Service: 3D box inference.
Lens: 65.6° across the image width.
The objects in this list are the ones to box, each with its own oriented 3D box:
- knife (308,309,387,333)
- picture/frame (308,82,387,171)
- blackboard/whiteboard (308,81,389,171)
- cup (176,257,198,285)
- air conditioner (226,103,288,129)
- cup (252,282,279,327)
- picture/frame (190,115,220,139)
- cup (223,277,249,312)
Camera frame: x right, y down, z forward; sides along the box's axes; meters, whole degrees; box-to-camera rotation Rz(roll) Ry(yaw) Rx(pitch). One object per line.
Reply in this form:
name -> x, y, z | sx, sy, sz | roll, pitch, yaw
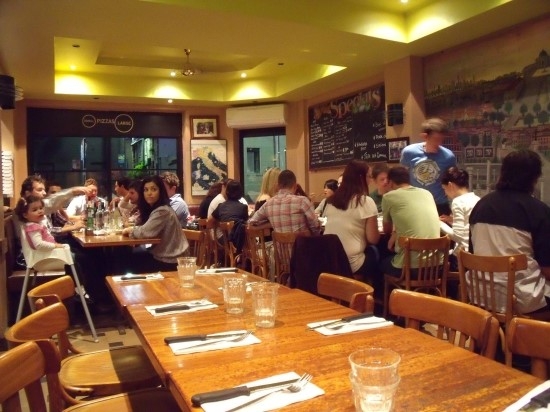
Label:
knife -> 0.295, 0.459, 1.668 | 0.191, 0.022, 0.112 | -1, 4, -7
picture/frame -> 1.307, -1.381, 7.691 | 2.004, 1.220, 0.066 | -15, 18, -34
blackboard/whiteboard -> 1.311, -1.384, 7.687 | 2.020, 1.220, 0.070 | -16, 19, -35
cup -> -0.469, 0.338, 2.330 | 0.132, 0.161, 0.134 | -4, 4, 0
air conditioner -> -0.385, -1.941, 9.238 | 1.191, 0.427, 0.391 | -4, -2, 3
cup -> -0.006, 0.383, 1.722 | 0.135, 0.179, 0.150 | -3, 1, 5
picture/frame -> -1.568, -1.759, 9.394 | 0.534, 0.448, 0.055 | -1, -1, -19
cup -> -0.184, 0.389, 1.845 | 0.096, 0.136, 0.096 | -8, -16, -2
